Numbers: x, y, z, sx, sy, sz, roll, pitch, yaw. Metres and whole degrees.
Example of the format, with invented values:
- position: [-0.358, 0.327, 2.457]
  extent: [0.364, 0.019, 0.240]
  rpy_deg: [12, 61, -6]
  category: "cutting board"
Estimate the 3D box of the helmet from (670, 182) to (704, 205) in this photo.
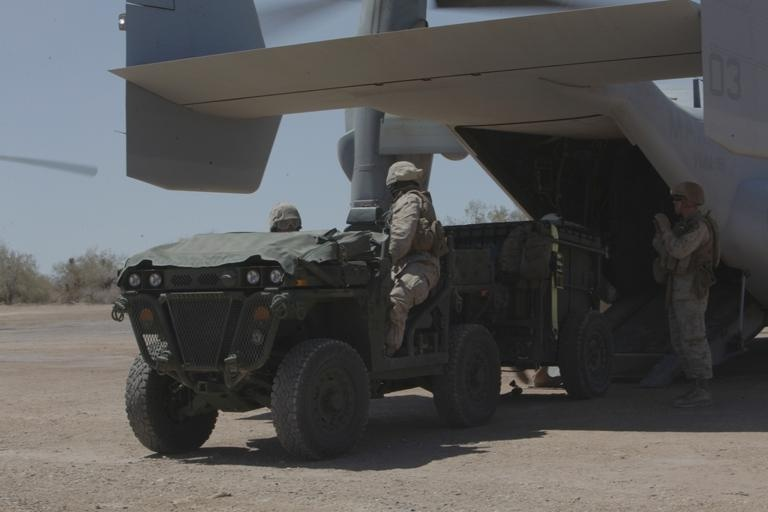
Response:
- position: [3.515, -0.717, 11.686]
  extent: [0.337, 0.292, 0.250]
  rpy_deg: [2, 4, 6]
  category: "helmet"

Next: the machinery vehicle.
- position: [0.046, 0.759, 11.209]
  extent: [5.521, 2.139, 2.300]
  rpy_deg: [5, -8, -45]
  category: "machinery vehicle"

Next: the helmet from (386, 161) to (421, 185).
- position: [0.197, -0.864, 10.626]
  extent: [0.310, 0.239, 0.240]
  rpy_deg: [2, 2, 29]
  category: "helmet"

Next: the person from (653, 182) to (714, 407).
- position: [3.442, 0.420, 11.474]
  extent: [0.692, 2.522, 0.567]
  rpy_deg: [0, 0, 18]
  category: "person"
